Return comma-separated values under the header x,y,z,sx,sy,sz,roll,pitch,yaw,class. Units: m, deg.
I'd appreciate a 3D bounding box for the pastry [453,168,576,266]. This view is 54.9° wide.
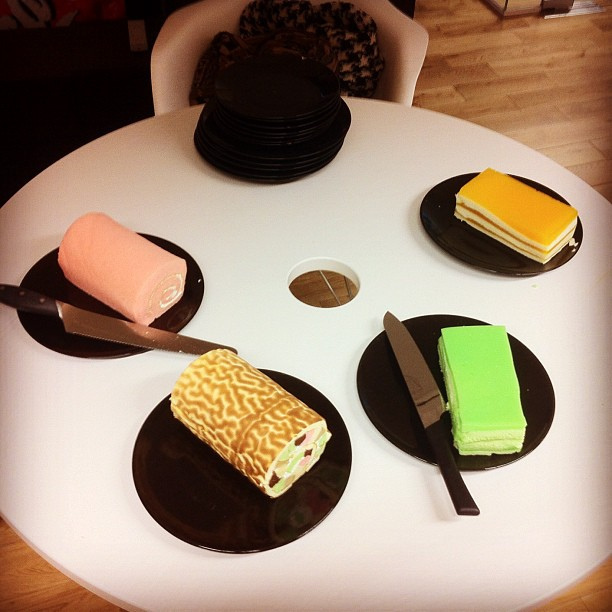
x,y,z,sx,sy,sz,roll,pitch,yaw,class
0.325,-0.138,0.952,0.184,0.064,0.118,36,70,26,pastry

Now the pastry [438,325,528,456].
x,y,z,sx,sy,sz,roll,pitch,yaw,class
0.214,0.095,0.725,0.094,0.041,0.150,-2,51,9,pastry

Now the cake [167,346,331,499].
x,y,z,sx,sy,sz,roll,pitch,yaw,class
-0.056,0.159,0.718,0.188,0.102,0.145,39,28,27,cake

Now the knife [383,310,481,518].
x,y,z,sx,sy,sz,roll,pitch,yaw,class
0.145,0.121,0.703,0.047,0.016,0.294,-7,47,-5,knife

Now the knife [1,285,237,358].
x,y,z,sx,sy,sz,roll,pitch,yaw,class
-0.259,0.024,0.785,0.316,0.025,0.044,11,66,2,knife
